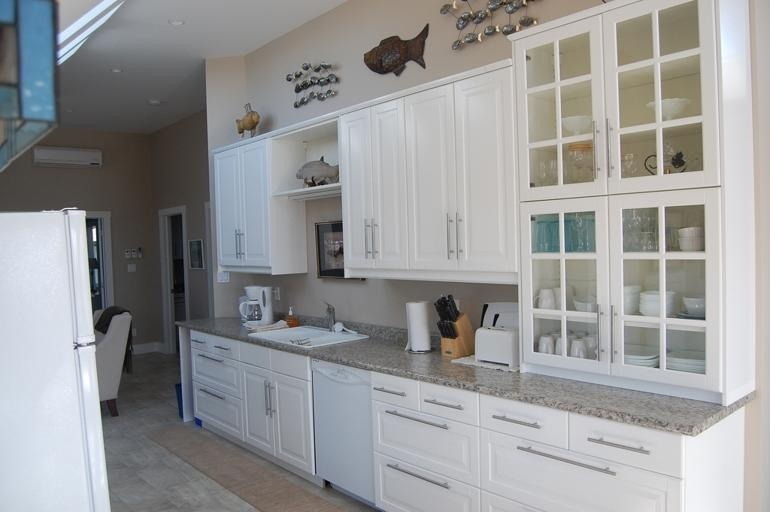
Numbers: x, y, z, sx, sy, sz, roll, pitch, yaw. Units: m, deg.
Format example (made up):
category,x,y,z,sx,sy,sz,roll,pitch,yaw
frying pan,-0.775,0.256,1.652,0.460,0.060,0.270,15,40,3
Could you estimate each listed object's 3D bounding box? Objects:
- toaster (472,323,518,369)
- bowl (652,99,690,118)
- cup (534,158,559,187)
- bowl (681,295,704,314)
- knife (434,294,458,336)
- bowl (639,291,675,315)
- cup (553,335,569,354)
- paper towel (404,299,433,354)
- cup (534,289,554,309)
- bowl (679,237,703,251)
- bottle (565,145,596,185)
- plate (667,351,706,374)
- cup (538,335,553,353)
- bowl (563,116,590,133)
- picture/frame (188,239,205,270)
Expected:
category,x,y,z,sx,sy,sz,roll,pitch,yaw
toaster,0.660,0.522,3.288,0.195,0.208,0.289,-7,7,-44
bowl,1.391,-0.721,2.674,0.102,0.068,0.093,-2,10,0
cup,0.882,-0.459,3.041,0.135,0.212,0.131,-1,4,0
bowl,1.464,0.228,2.634,0.084,0.067,0.070,1,3,41
knife,0.382,0.383,3.578,0.143,0.256,0.061,-5,0,-38
bowl,1.361,0.232,2.766,0.111,0.094,0.128,2,4,32
cup,0.948,0.482,2.986,0.069,0.089,0.094,-3,-6,37
paper towel,0.243,0.487,3.819,0.202,0.230,0.155,-2,1,-21
cup,0.879,0.241,3.048,0.111,0.105,0.070,-3,4,-29
bowl,1.459,-0.056,2.645,0.066,0.040,0.066,0,0,0
bottle,1.008,-0.477,2.943,0.181,0.257,0.194,-2,2,0
plate,1.435,0.502,2.638,0.095,0.041,0.124,-2,3,-31
cup,0.888,0.495,3.091,0.078,0.086,0.090,0,2,15
bowl,1.004,-0.693,2.923,0.096,0.054,0.096,-1,4,0
picture/frame,-2.542,-0.030,7.440,0.037,0.410,0.415,-1,-2,-38
